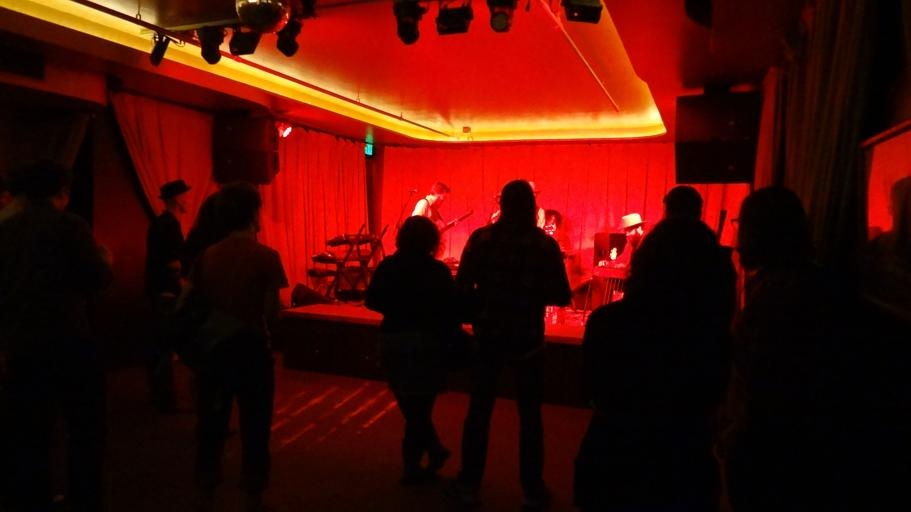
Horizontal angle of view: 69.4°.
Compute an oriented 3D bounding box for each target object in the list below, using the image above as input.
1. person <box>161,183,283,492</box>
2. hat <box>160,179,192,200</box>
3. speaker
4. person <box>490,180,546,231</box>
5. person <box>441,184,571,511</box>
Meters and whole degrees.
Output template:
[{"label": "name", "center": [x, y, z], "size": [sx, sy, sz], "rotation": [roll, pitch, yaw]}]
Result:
[{"label": "person", "center": [-1.757, 0.663, 5.129], "size": [0.800, 2.488, 0.275], "rotation": [3, 0, -15]}, {"label": "hat", "center": [-2.904, -0.689, 6.807], "size": [0.273, 0.086, 0.220], "rotation": [-22, 9, -9]}, {"label": "speaker", "center": [2.829, -1.236, 6.983], "size": [1.012, 1.208, 0.655], "rotation": [-1, -12, 18]}, {"label": "person", "center": [0.943, -0.722, 10.561], "size": [1.020, 1.102, 1.085], "rotation": [-3, 3, 8]}, {"label": "person", "center": [0.421, 0.728, 5.280], "size": [0.892, 2.588, 0.408], "rotation": [3, 0, -1]}]
